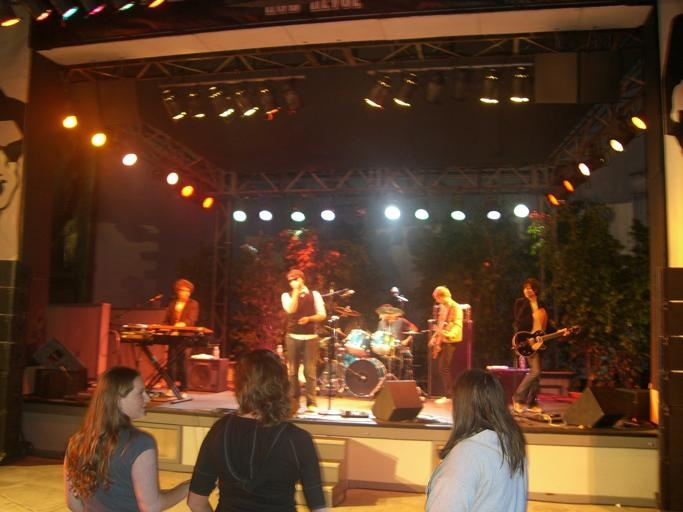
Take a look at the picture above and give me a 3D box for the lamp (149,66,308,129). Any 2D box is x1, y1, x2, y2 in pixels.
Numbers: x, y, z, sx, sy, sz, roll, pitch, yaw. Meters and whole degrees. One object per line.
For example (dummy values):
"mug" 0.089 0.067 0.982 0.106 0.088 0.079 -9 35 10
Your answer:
"lamp" -1.513 -2.196 9.889 2.044 0.450 0.533 1 -9 13

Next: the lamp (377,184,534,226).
"lamp" 2.387 -1.022 14.261 2.796 0.922 2.579 0 -9 15

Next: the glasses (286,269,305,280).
"glasses" -0.604 0.229 9.222 0.148 0.176 0.160 -10 -46 26

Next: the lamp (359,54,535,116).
"lamp" 1.373 -2.328 9.555 2.353 0.508 0.453 -3 -1 -9

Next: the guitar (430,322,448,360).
"guitar" 1.434 1.222 10.354 0.161 0.190 0.575 14 -52 -2

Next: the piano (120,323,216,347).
"piano" -2.254 1.032 9.209 1.154 0.274 0.313 5 -9 -13

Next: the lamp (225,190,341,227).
"lamp" -1.033 -1.003 14.616 2.060 0.757 1.840 0 -9 16

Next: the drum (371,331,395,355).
"drum" 0.621 1.283 10.623 0.348 0.313 0.321 2 -33 3

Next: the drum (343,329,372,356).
"drum" 0.268 1.309 10.836 0.392 0.348 0.381 20 -24 -35

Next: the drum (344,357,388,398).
"drum" 0.361 1.761 10.297 0.573 0.543 0.324 9 4 32

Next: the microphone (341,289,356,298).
"microphone" 0.087 0.550 10.206 0.239 0.073 0.229 -1 0 -4

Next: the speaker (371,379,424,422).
"speaker" 0.607 1.724 8.334 0.522 0.439 0.489 13 -22 -37

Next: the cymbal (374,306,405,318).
"cymbal" 0.727 0.837 10.885 0.395 0.202 0.427 2 -9 3

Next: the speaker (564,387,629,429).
"speaker" 2.864 1.700 8.033 0.523 0.350 0.512 9 -17 -32

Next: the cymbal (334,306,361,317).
"cymbal" 0.081 0.902 11.539 0.363 0.088 0.355 10 -22 19

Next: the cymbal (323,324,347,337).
"cymbal" -0.116 1.158 11.046 0.369 0.137 0.323 20 -7 2
